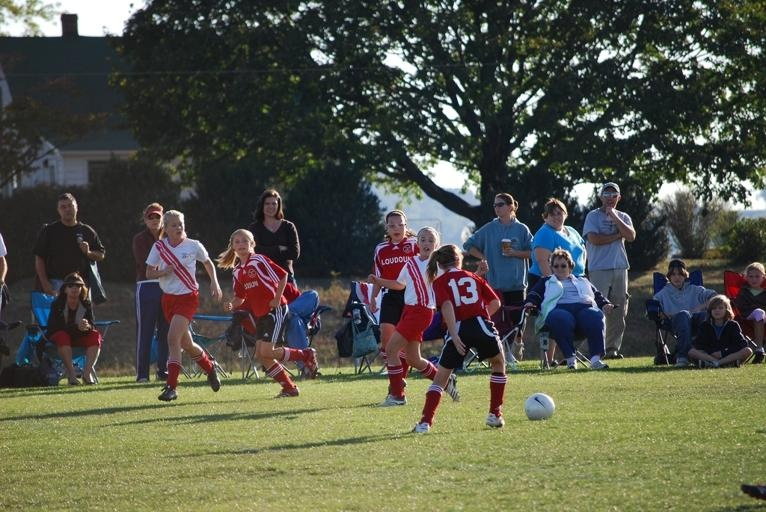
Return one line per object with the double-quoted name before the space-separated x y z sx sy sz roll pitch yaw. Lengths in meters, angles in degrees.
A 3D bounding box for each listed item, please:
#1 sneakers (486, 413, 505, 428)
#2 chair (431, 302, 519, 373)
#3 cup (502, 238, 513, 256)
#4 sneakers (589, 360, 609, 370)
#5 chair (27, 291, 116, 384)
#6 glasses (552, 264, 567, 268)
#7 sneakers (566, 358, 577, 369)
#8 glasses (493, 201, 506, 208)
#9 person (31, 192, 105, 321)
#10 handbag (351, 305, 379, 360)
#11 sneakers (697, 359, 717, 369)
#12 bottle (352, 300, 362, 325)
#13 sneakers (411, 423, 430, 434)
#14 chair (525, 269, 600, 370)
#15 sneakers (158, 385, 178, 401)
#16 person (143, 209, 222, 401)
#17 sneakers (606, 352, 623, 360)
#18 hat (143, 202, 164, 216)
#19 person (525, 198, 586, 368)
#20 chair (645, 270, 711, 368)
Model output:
"sneakers" 2.035 2.988 25.463 0.334 0.249 0.173 -1 4 -41
"chair" 1.728 1.489 26.098 1.124 1.745 1.205 -1 0 8
"cup" 2.685 -0.193 29.881 0.283 0.383 0.291 -1 7 0
"sneakers" 4.465 2.256 28.986 0.332 0.169 0.175 -2 -1 7
"chair" -6.893 1.826 30.983 1.970 2.734 1.811 4 -6 -41
"glasses" 3.688 0.209 29.273 0.295 0.106 0.050 -2 -7 9
"sneakers" 3.938 2.237 29.204 0.183 0.336 0.223 -3 4 -25
"glasses" 2.515 -1.102 30.091 0.234 0.120 0.085 -5 -8 28
"person" -6.673 -0.131 29.942 1.448 2.448 0.984 1 -7 -15
"handbag" -0.467 1.624 30.749 0.673 1.081 0.609 -8 -2 -1
"sneakers" 6.686 2.220 28.924 0.438 0.171 0.147 -3 -7 16
"bottle" -0.565 1.261 30.508 0.254 0.408 0.399 0 -10 -2
"sneakers" 0.690 3.130 25.399 0.258 0.202 0.347 -1 -9 1
"chair" 3.817 1.292 29.549 1.475 2.545 1.415 0 -46 -1
"sneakers" -4.260 2.694 27.572 0.384 0.261 0.223 5 6 43
"person" -3.991 0.981 27.895 1.358 3.816 0.542 0 -6 -12
"sneakers" 5.053 2.189 30.591 0.286 0.157 0.184 13 -5 -15
"hat" -4.864 -1.039 29.863 0.373 0.331 0.593 5 -10 -14
"person" 3.909 0.546 29.976 1.324 3.546 1.112 -7 5 -32
"chair" 6.361 1.283 29.827 1.412 2.384 1.525 -2 -14 1
